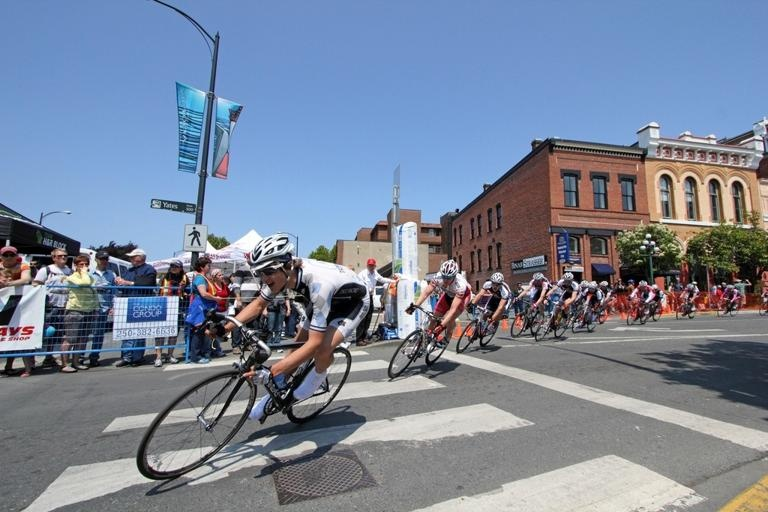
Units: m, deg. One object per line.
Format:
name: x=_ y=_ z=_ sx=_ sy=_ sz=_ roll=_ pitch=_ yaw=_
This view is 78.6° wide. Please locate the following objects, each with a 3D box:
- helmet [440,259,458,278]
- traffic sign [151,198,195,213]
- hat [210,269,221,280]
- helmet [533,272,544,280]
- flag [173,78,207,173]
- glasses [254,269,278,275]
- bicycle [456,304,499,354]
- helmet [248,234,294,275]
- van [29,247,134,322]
helmet: x=1.364 y=0.274 z=9.936 sx=0.354 sy=0.347 sz=0.505 roll=0 pitch=4 yaw=3
traffic sign: x=-5.942 y=-1.432 z=13.423 sx=1.171 sy=0.317 sz=1.060 roll=-3 pitch=5 yaw=-30
hat: x=-3.765 y=0.388 z=10.576 sx=0.214 sy=0.205 sz=0.180 roll=-17 pitch=18 yaw=-2
helmet: x=4.895 y=0.645 z=14.693 sx=0.363 sy=0.191 sz=0.530 roll=-2 pitch=-5 yaw=37
flag: x=-5.637 y=-3.714 z=13.740 sx=0.695 sy=2.573 sz=0.968 roll=-1 pitch=4 yaw=-13
glasses: x=-1.505 y=0.205 z=6.019 sx=0.253 sy=0.082 sz=0.068 roll=-1 pitch=4 yaw=-8
bicycle: x=2.266 y=1.778 z=11.814 sx=0.672 sy=0.967 sz=1.617 roll=28 pitch=5 yaw=31
helmet: x=-1.413 y=0.005 z=5.947 sx=0.398 sy=0.268 sz=0.519 roll=16 pitch=49 yaw=34
van: x=-6.790 y=0.654 z=10.432 sx=1.332 sy=1.203 sz=2.123 roll=-6 pitch=-12 yaw=44
